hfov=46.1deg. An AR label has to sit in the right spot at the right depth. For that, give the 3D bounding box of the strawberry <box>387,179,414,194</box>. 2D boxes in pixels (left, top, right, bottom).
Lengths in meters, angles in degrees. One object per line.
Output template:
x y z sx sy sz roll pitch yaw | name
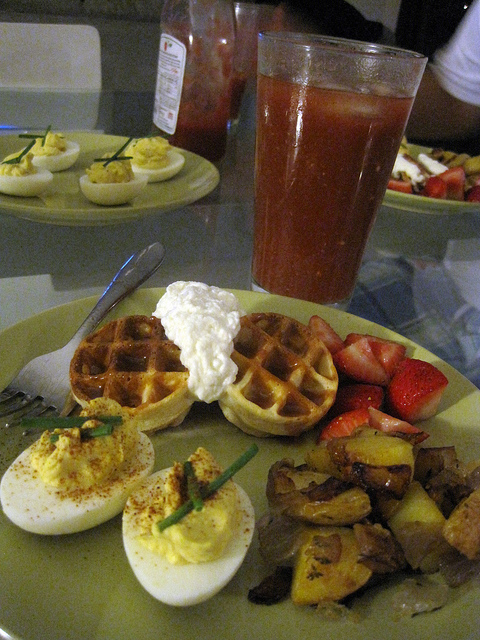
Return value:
0.361 -0.302 1.274 0.061 0.017 0.061 -18 40 -36 | strawberry

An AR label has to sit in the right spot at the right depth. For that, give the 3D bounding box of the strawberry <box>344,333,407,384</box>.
0.229 0.053 0.926 0.110 0.065 0.075 -6 13 -28 | strawberry

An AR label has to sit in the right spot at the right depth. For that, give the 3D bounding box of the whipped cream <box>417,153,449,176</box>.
0.517 -0.424 1.532 0.070 0.023 0.087 -5 44 -22 | whipped cream

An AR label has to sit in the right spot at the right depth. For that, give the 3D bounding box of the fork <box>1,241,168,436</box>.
-0.204 0.002 0.884 0.078 0.051 0.441 27 36 3 | fork

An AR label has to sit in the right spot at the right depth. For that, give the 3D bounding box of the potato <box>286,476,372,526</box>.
0.094 0.197 0.618 0.082 0.039 0.045 3 40 -10 | potato

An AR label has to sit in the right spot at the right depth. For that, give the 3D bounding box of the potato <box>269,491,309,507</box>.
0.053 0.198 0.625 0.035 0.008 0.019 -11 15 0 | potato

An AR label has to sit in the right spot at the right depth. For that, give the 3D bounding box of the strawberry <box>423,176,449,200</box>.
0.455 -0.303 1.306 0.053 0.035 0.085 10 39 -2 | strawberry

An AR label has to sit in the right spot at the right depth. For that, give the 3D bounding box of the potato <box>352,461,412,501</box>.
0.157 0.167 0.627 0.051 0.045 0.015 2 14 17 | potato

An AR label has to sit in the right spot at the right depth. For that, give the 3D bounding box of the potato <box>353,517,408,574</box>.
0.145 0.237 0.587 0.074 0.018 0.061 30 49 -9 | potato

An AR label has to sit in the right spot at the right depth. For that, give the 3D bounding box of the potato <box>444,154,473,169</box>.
0.613 -0.448 1.601 0.082 0.022 0.084 13 46 36 | potato

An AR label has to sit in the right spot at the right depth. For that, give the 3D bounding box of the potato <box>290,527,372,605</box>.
0.092 0.254 0.626 0.120 0.054 0.082 0 8 -5 | potato
